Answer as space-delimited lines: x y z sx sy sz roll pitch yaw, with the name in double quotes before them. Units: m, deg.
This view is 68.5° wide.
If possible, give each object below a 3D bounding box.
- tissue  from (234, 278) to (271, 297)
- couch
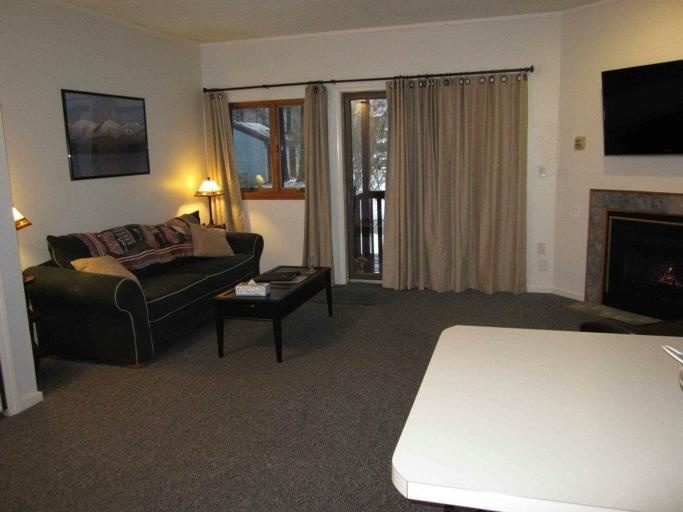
"tissue " -0.766 0.276 4.361 0.306 0.109 0.207 3 15 18
"couch" -1.864 0.319 4.836 1.008 1.059 2.094 7 17 33
